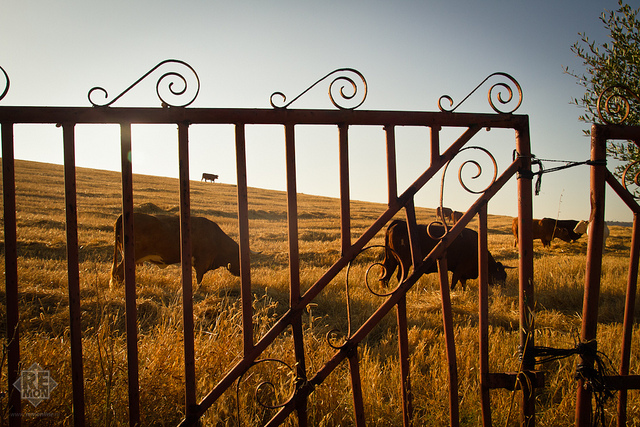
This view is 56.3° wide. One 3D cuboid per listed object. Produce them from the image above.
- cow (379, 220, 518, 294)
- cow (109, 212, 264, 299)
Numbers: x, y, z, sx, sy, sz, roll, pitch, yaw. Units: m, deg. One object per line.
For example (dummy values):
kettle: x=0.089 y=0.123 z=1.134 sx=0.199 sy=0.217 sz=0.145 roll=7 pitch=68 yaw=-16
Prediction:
cow: x=3.297 y=1.165 z=15.481 sx=3.088 sy=1.905 sz=0.917 roll=5 pitch=20 yaw=26
cow: x=-3.477 y=0.878 z=14.858 sx=3.006 sy=1.653 sz=2.547 roll=3 pitch=6 yaw=-9
